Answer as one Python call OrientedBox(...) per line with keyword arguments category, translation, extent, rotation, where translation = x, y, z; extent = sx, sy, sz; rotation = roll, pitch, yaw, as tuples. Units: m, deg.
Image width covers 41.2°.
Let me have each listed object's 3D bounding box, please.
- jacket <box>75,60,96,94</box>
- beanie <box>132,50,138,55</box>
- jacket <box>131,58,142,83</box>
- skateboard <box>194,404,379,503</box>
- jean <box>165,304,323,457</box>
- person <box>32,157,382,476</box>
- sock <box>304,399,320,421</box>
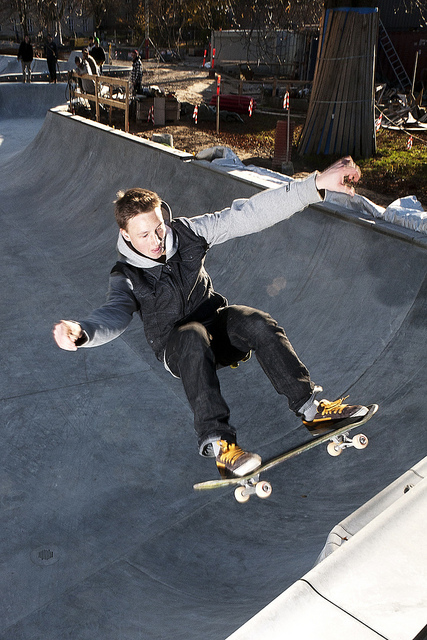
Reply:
OrientedBox(category="jacket", translation=(-3.305, -6.204, 14.584), extent=(0.447, 0.805, 1.061), rotation=(0, 26, -14))
OrientedBox(category="beanie", translation=(-2.213, -7.510, 15.966), extent=(0.151, 0.075, 0.200), rotation=(3, 22, -20))
OrientedBox(category="jacket", translation=(-2.226, -7.184, 16.427), extent=(0.238, 0.646, 0.329), rotation=(-2, 26, -16))
OrientedBox(category="skateboard", translation=(0.402, 0.730, 3.004), extent=(1.093, 0.177, 0.275), rotation=(-24, -1, -19))
OrientedBox(category="jean", translation=(0.091, 0.275, 2.725), extent=(0.567, 0.579, 0.604), rotation=(-9, 29, -30))
OrientedBox(category="person", translation=(-0.013, -0.043, 2.706), extent=(1.748, 1.096, 1.242), rotation=(-24, 31, -27))
OrientedBox(category="sock", translation=(0.453, 0.420, 2.671), extent=(0.062, 0.094, 0.022), rotation=(26, 15, -33))
